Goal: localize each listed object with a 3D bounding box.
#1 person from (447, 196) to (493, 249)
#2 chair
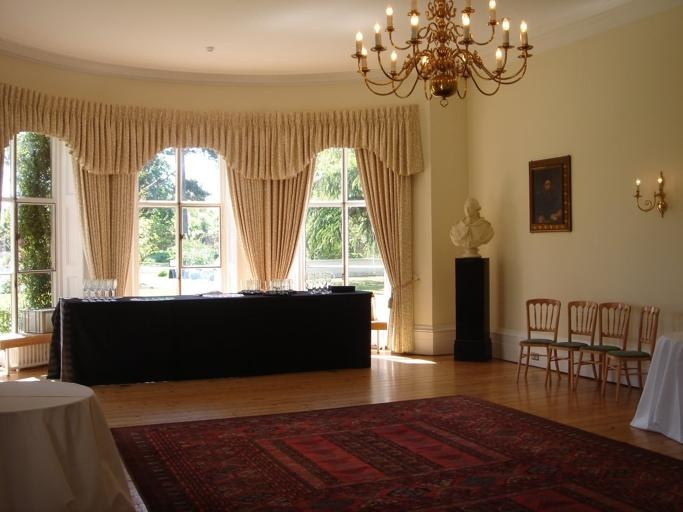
[{"bbox_3d":[1.959,-0.430,8.110,0.613,0.820,0.256,0,2,14],"label":"person"},{"bbox_3d":[3.061,1.083,6.867,0.858,1.063,2.040,-1,2,-23],"label":"chair"}]
